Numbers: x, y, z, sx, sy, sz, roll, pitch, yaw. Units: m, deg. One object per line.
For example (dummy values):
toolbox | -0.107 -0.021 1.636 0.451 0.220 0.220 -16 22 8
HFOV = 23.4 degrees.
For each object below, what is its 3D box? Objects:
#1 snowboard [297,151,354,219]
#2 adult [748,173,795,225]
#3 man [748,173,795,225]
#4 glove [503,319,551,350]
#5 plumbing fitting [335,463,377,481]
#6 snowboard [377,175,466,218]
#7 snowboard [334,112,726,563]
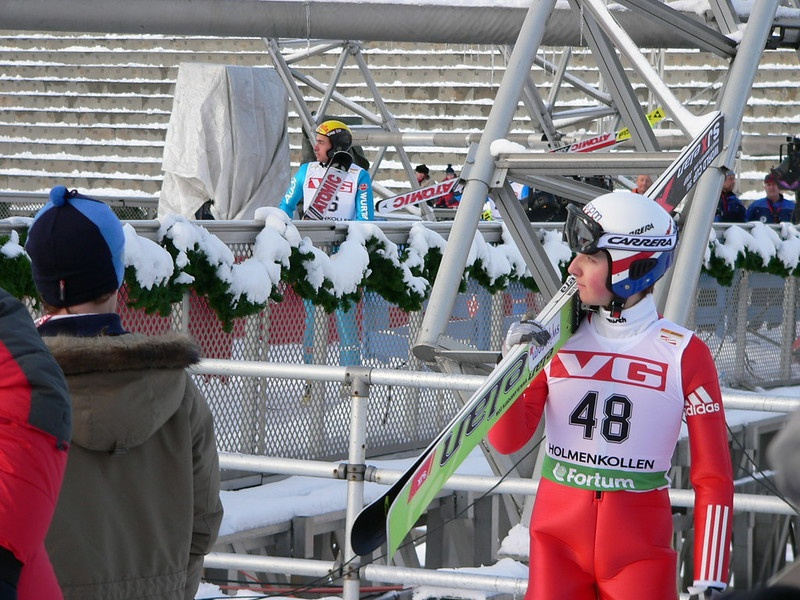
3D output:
snowboard | -0.774 -1.083 18.864 0.252 0.214 1.262 25 -24 21
adult | 4.743 -1.276 24.699 0.588 0.735 1.353 1 -4 11
man | 4.737 -1.278 24.684 0.584 0.735 1.275 1 -4 12
glove | 0.958 0.257 14.365 0.247 0.219 0.109 -7 -29 -9
plumbing fitting | -0.357 1.363 15.333 0.172 0.080 0.190 4 7 -1
snowboard | 0.181 -1.061 20.375 1.222 0.361 0.178 -14 12 28
snowboard | 1.181 0.060 14.915 4.705 0.771 0.751 -46 -15 -27
